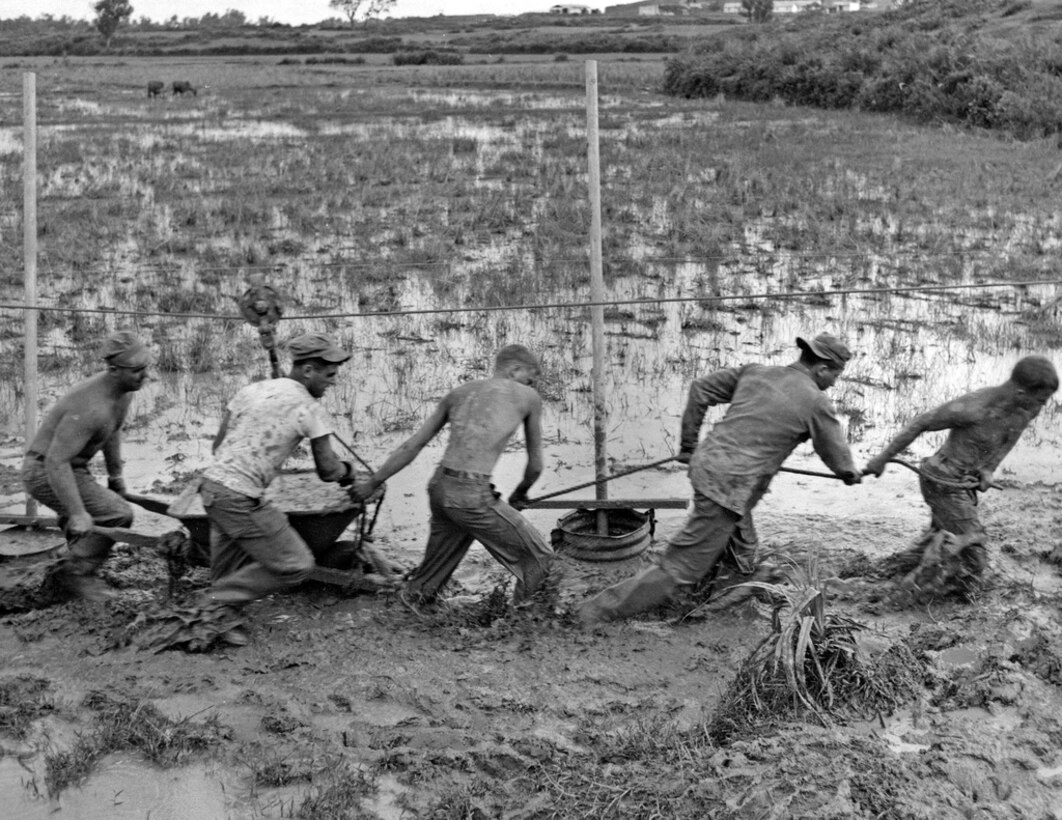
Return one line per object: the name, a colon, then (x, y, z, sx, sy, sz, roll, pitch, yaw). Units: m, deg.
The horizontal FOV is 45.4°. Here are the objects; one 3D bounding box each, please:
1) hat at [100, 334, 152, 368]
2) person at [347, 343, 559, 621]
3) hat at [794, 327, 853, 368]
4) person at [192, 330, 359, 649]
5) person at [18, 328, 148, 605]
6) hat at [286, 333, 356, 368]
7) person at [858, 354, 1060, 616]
hat: (-2.923, -0.461, 9.160, 0.237, 0.278, 0.281, 0, 19, -15)
person: (-0.437, 0.493, 9.126, 1.163, 1.851, 0.571, -1, 12, -2)
hat: (2.077, -0.462, 9.166, 0.397, 0.207, 0.278, 32, 2, -25)
person: (-1.828, 0.538, 8.733, 1.176, 2.024, 0.546, -5, 13, -20)
person: (-3.238, 0.389, 9.366, 0.769, 1.957, 0.811, -9, 15, -35)
hat: (-1.465, -0.417, 8.846, 0.344, 0.139, 0.234, 2, 6, -19)
person: (3.162, 0.447, 9.314, 1.132, 1.669, 0.718, -6, 13, -25)
